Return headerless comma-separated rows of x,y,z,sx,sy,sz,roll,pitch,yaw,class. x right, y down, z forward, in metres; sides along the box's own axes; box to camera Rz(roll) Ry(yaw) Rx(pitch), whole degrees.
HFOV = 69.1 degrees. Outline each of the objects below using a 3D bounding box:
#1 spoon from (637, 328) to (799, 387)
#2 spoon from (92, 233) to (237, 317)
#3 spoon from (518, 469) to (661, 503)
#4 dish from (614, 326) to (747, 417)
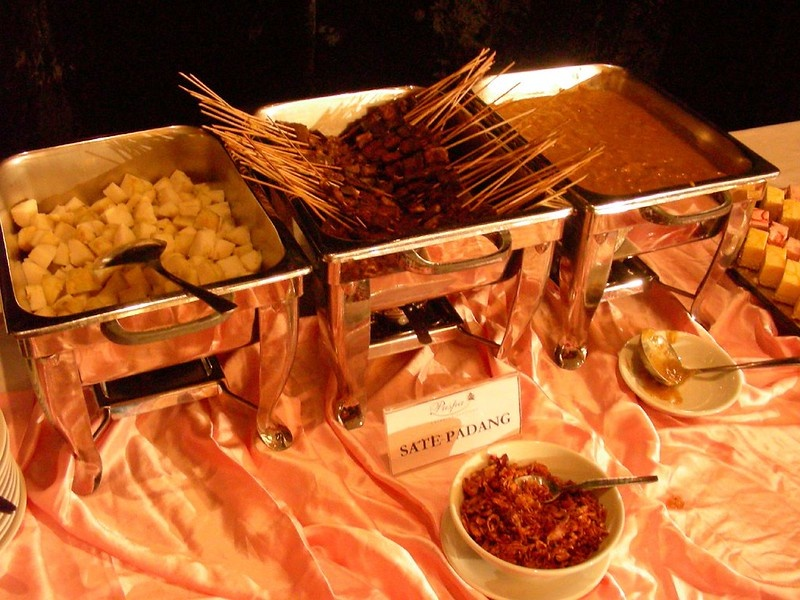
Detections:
0.844,0.164,1.584,0.357,0.097,0.190,1,33,16,spoon
-0.448,-0.032,1.146,0.138,0.031,0.300,-30,53,-32,spoon
0.403,0.408,1.271,0.209,0.033,0.061,-9,28,9,spoon
0.770,0.200,1.594,0.311,0.056,0.282,-9,49,-10,dish
